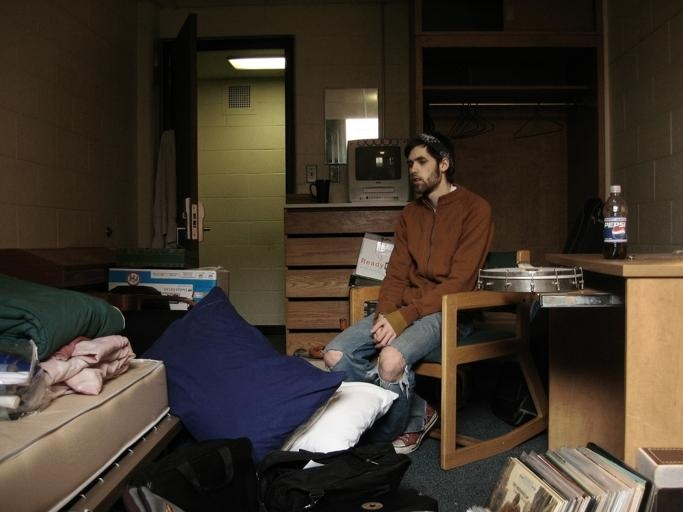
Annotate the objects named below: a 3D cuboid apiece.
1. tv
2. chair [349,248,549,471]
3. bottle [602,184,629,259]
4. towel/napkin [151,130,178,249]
[{"bbox_3d":[0.275,-0.686,4.241,0.448,0.523,0.363,-1,33,3],"label":"tv"},{"bbox_3d":[0.526,0.486,2.903,0.813,0.862,0.924,-1,-1,43],"label":"chair"},{"bbox_3d":[1.126,-0.142,2.318,0.080,0.296,0.271,1,3,24],"label":"bottle"},{"bbox_3d":[-1.416,-0.553,4.534,0.168,0.955,0.356,-3,4,-41],"label":"towel/napkin"}]
